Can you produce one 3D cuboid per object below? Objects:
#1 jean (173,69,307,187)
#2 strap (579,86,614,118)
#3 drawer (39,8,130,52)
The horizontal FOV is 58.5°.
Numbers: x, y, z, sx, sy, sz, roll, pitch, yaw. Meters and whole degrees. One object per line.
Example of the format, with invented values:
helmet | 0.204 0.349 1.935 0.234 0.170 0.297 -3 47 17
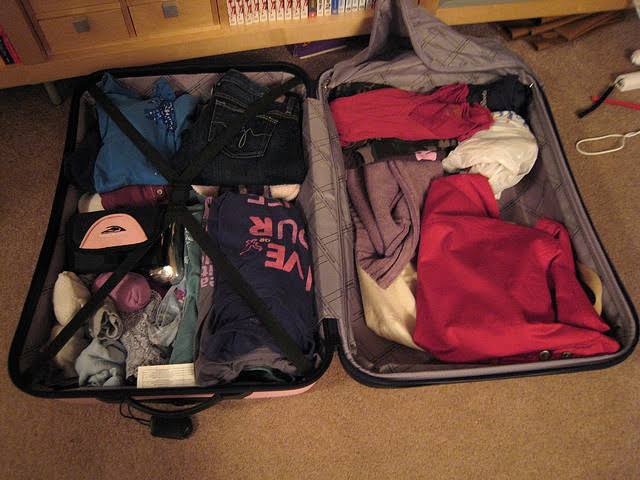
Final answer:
jean | -0.282 -0.394 2.080 0.444 0.152 0.466 6 72 -5
strap | 1.257 -0.625 2.600 0.216 0.036 0.030 -37 74 -2
drawer | -0.913 -0.822 2.240 0.264 0.163 0.157 -12 90 -6
